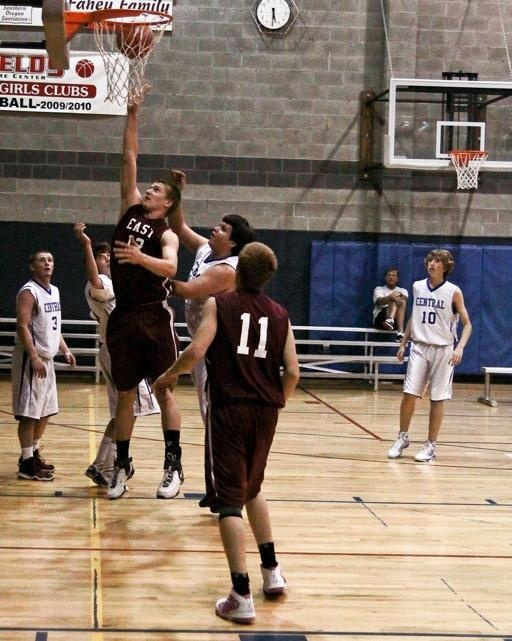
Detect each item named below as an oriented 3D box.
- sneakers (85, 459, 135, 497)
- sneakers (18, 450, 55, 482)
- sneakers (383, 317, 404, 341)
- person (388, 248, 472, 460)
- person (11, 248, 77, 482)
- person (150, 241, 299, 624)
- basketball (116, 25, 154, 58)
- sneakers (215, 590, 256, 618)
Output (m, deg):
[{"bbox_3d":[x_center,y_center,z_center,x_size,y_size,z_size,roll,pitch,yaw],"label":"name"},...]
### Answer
[{"bbox_3d":[-0.895,0.981,5.922,0.190,0.139,0.417,39,-1,-5],"label":"sneakers"},{"bbox_3d":[-1.474,0.976,6.393,0.237,0.153,0.237,1,5,-13],"label":"sneakers"},{"bbox_3d":[1.749,0.115,11.950,0.146,0.167,0.427,6,-22,23],"label":"sneakers"},{"bbox_3d":[1.401,0.275,7.553,0.568,1.660,0.618,4,5,13],"label":"person"},{"bbox_3d":[-1.473,0.287,6.514,0.369,1.518,0.603,2,5,-11],"label":"person"},{"bbox_3d":[-0.102,0.504,4.444,0.622,1.733,0.416,2,5,-9],"label":"person"},{"bbox_3d":[-0.892,-2.059,7.029,0.256,0.189,0.249,-5,-4,35],"label":"basketball"},{"bbox_3d":[-0.089,1.304,4.453,0.096,0.140,0.220,0,3,-39],"label":"sneakers"}]
